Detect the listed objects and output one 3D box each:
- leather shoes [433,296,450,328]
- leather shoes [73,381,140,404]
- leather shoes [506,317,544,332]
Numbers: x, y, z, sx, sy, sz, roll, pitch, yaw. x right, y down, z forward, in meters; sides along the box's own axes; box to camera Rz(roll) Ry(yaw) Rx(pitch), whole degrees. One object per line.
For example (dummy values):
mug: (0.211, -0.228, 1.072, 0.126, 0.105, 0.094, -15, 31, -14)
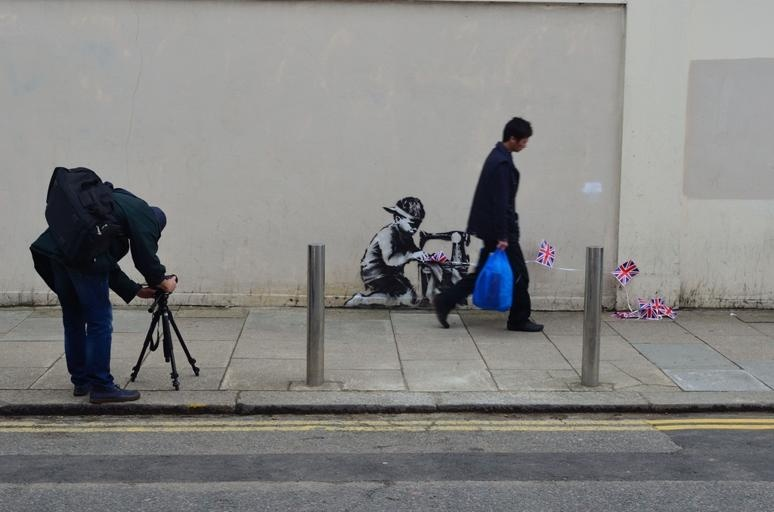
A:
leather shoes: (0.692, 0.707, 13.612, 0.161, 0.445, 0.194, -12, 2, -19)
leather shoes: (-2.933, 1.420, 11.221, 0.708, 0.238, 0.251, 1, -1, -17)
leather shoes: (1.745, 0.875, 13.512, 0.473, 0.160, 0.167, 1, 0, 0)
